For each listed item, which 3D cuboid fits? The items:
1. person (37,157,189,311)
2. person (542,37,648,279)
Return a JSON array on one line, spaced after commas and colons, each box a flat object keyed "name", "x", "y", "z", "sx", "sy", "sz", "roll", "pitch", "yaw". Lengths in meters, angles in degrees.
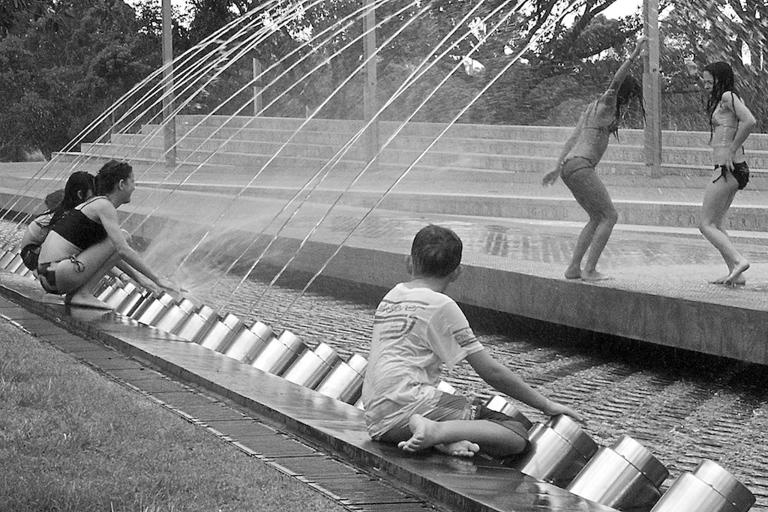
[{"name": "person", "x": -2.658, "y": -0.225, "z": 8.093, "sx": 1.373, "sy": 1.440, "sz": 0.812, "roll": 2, "pitch": 6, "yaw": -38}, {"name": "person", "x": 2.050, "y": -0.954, "z": 7.710, "sx": 0.559, "sy": 2.404, "sz": 0.773, "roll": 14, "pitch": 0, "yaw": -18}]
